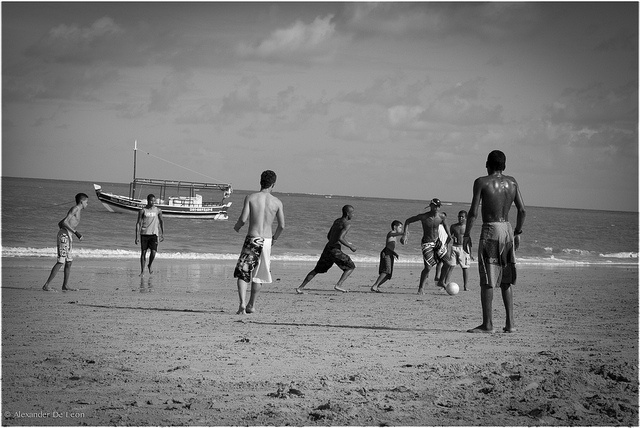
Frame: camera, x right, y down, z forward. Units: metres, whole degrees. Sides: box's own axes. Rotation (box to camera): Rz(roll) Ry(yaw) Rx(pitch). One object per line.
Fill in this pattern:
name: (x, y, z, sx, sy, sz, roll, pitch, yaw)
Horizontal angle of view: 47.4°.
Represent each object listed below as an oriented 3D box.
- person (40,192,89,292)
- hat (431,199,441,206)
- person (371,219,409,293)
person: (-8.404, 0.842, 23.884, 1.583, 3.902, 1.194, 5, 26, -17)
hat: (2.137, -0.214, 13.673, 0.160, 0.198, 0.067, -4, -4, 24)
person: (2.141, 1.349, 22.912, 1.069, 2.380, 1.040, 11, 18, 1)
